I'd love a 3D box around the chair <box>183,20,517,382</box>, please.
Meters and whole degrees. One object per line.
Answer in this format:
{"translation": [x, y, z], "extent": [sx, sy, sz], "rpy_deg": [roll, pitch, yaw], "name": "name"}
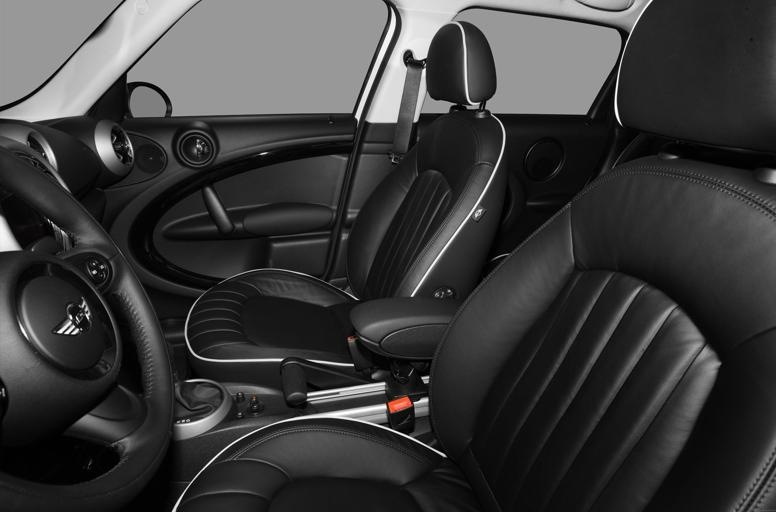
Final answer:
{"translation": [-0.084, -0.195, 2.229], "extent": [1.157, 1.326, 0.881], "rpy_deg": [3, 8, -16], "name": "chair"}
